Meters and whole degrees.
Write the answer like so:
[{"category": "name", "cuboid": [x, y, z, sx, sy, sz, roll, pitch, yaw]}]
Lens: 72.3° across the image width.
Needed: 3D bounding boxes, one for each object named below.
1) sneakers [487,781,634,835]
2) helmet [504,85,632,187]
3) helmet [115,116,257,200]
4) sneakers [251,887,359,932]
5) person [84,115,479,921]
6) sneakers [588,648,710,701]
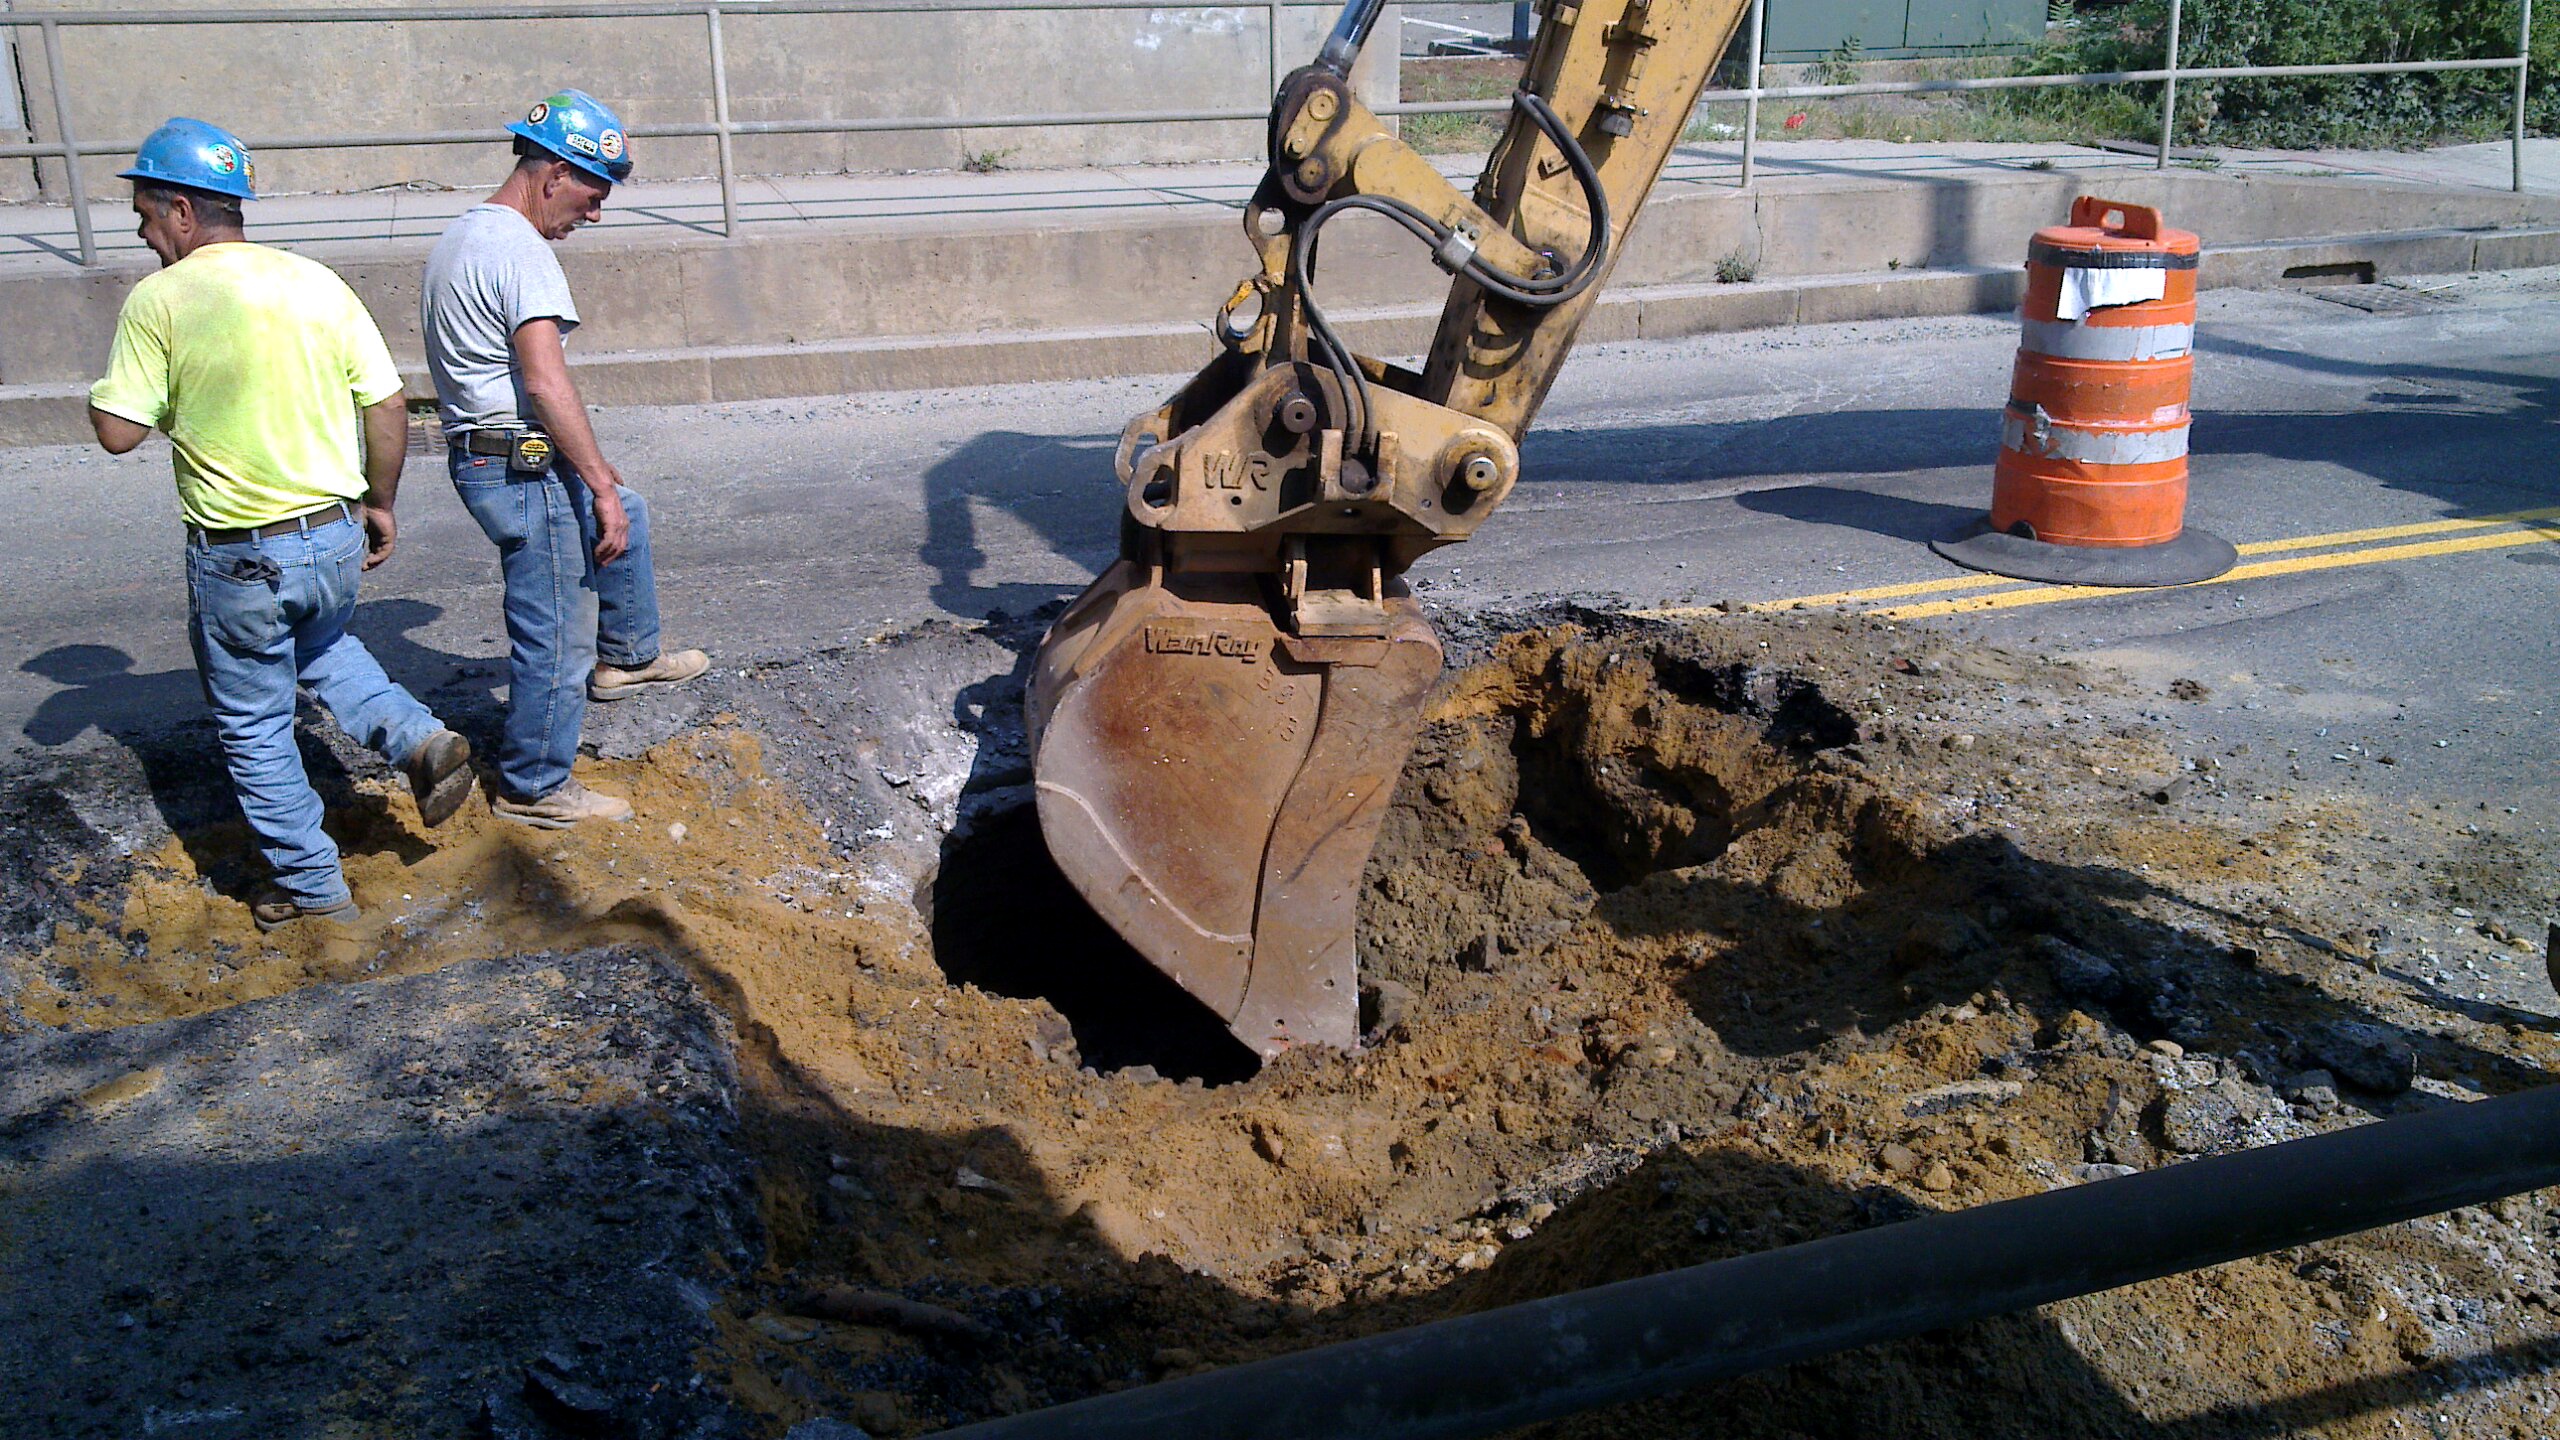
[{"category": "sneakers", "cuboid": [-3.248, 0.401, 7.935, 0.614, 0.232, 0.214, -6, 22, -17]}, {"category": "helmet", "cuboid": [-3.111, -2.616, 7.747, 0.583, 0.291, 0.375, 17, 35, -12]}, {"category": "helmet", "cuboid": [-4.547, -2.325, 7.278, 0.408, 0.306, 0.446, -11, 23, -28]}, {"category": "sneakers", "cuboid": [-4.220, 0.821, 7.592, 0.375, 0.141, 0.179, 11, -5, -40]}, {"category": "person", "cuboid": [-4.250, -0.797, 7.421, 1.109, 3.254, 1.008, -9, 24, -23]}, {"category": "sneakers", "cuboid": [-3.046, -0.226, 8.517, 0.593, 0.211, 0.191, -14, 25, -28]}]
